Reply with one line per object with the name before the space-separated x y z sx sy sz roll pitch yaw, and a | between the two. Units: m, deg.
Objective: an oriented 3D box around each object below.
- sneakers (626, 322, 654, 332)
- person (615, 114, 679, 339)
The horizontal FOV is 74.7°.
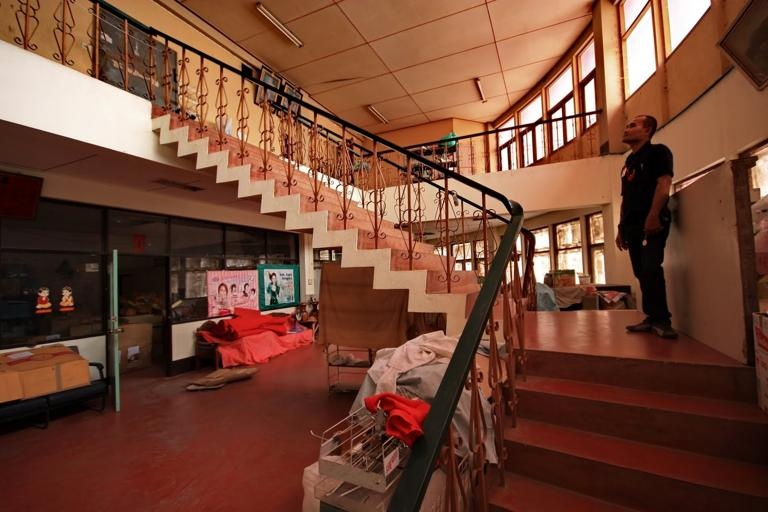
sneakers | 3.042 0.843 6.021 0.288 0.121 0.105 0 -5 41
person | 3.083 -0.359 5.932 0.383 2.611 0.703 -1 -3 -28
